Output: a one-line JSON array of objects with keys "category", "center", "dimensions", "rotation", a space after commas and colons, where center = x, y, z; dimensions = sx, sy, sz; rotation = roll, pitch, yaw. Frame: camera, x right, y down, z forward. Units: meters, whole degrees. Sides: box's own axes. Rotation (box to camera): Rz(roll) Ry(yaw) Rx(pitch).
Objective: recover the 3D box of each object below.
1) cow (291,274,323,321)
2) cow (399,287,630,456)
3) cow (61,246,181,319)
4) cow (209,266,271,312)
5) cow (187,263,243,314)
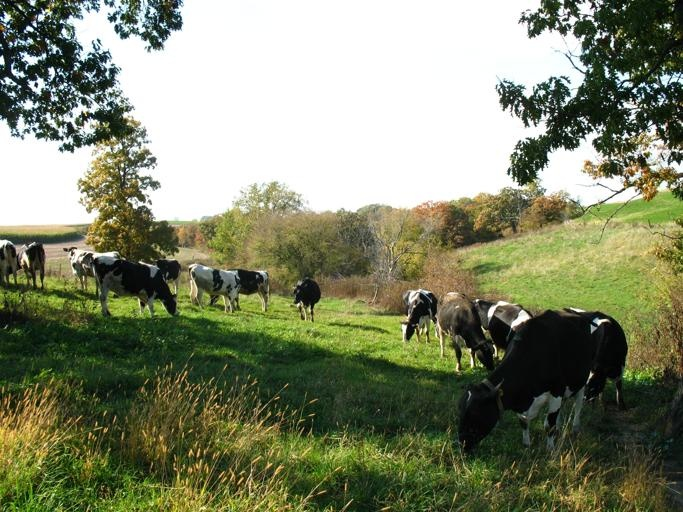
[{"category": "cow", "center": [-1.600, 1.972, 28.390], "dimensions": [0.924, 1.815, 2.947], "rotation": [-3, -4, 11]}, {"category": "cow", "center": [4.635, 2.671, 14.371], "dimensions": [1.714, 2.867, 5.123], "rotation": [0, -2, 44]}, {"category": "cow", "center": [-7.053, 0.989, 21.486], "dimensions": [2.647, 2.037, 2.066], "rotation": [2, -2, -24]}, {"category": "cow", "center": [-5.315, 1.507, 27.808], "dimensions": [2.936, 1.892, 0.800], "rotation": [6, -6, -42]}, {"category": "cow", "center": [-5.406, 1.335, 27.369], "dimensions": [2.382, 1.884, 1.684], "rotation": [2, -2, -36]}]
